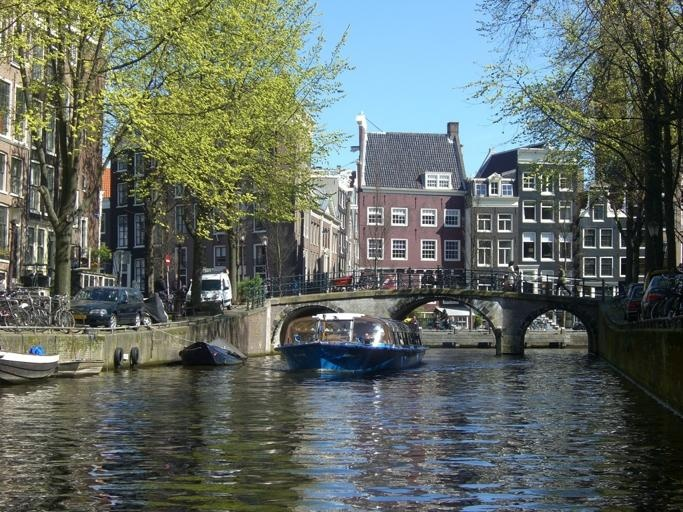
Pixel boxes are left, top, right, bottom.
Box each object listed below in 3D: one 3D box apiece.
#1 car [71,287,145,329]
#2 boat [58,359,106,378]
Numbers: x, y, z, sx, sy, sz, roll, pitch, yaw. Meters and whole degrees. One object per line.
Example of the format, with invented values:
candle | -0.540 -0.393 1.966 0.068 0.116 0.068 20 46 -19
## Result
car | -8.465 1.774 46.523 1.648 1.462 4.170 -3 -4 14
boat | -8.210 3.466 40.693 0.469 0.522 1.779 -4 -4 31
